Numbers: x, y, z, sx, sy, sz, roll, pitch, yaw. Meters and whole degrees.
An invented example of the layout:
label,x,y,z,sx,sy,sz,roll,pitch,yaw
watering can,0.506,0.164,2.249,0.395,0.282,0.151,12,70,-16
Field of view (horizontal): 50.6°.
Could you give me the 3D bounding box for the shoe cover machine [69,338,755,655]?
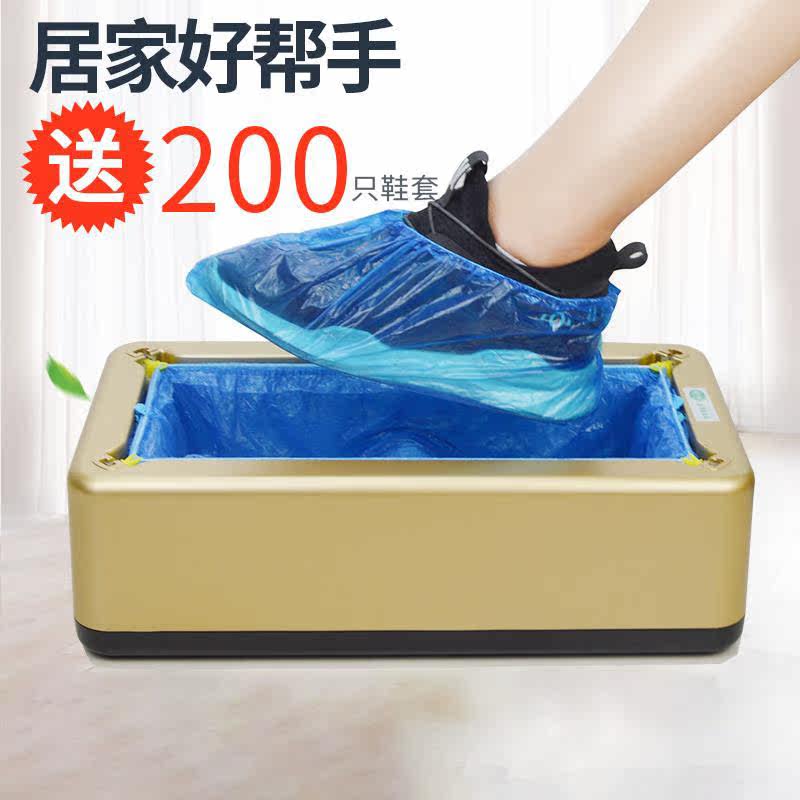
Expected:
label,x,y,z,sx,sy,sz,roll,pitch,yaw
shoe cover machine,0.016,0.059,0.641,0.427,0.147,0.291,-1,19,5
